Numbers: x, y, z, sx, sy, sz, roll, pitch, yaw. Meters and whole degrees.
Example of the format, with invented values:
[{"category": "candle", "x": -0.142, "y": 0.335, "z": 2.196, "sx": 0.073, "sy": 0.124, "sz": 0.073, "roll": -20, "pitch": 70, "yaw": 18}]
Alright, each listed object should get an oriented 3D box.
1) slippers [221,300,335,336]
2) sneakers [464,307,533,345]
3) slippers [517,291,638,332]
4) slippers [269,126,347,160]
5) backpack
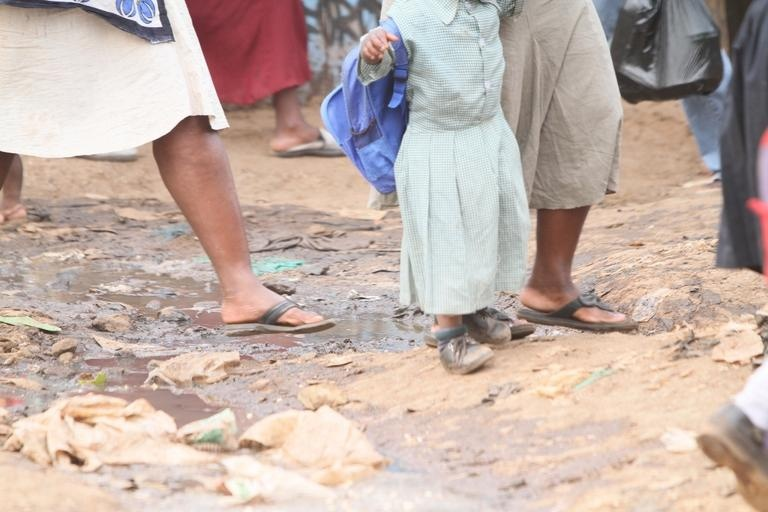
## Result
[{"category": "slippers", "x": -0.466, "y": 0.273, "z": 3.173, "sx": 0.559, "sy": 0.101, "sz": 0.153, "roll": -3, "pitch": 1, "yaw": 2}, {"category": "sneakers", "x": 0.457, "y": 0.278, "z": 3.025, "sx": 0.190, "sy": 0.103, "sz": 0.316, "roll": -17, "pitch": 10, "yaw": -26}, {"category": "slippers", "x": 0.835, "y": 0.243, "z": 3.176, "sx": 0.525, "sy": 0.101, "sz": 0.161, "roll": 3, "pitch": 10, "yaw": 15}, {"category": "slippers", "x": -1.002, "y": -1.292, "z": 8.168, "sx": 1.531, "sy": 0.330, "sz": 0.461, "roll": -2, "pitch": 14, "yaw": -8}, {"category": "backpack", "x": -0.072, "y": -0.551, "z": 2.755, "sx": 0.380, "sy": 0.681, "sz": 0.306, "roll": 0, "pitch": 33, "yaw": 15}]
